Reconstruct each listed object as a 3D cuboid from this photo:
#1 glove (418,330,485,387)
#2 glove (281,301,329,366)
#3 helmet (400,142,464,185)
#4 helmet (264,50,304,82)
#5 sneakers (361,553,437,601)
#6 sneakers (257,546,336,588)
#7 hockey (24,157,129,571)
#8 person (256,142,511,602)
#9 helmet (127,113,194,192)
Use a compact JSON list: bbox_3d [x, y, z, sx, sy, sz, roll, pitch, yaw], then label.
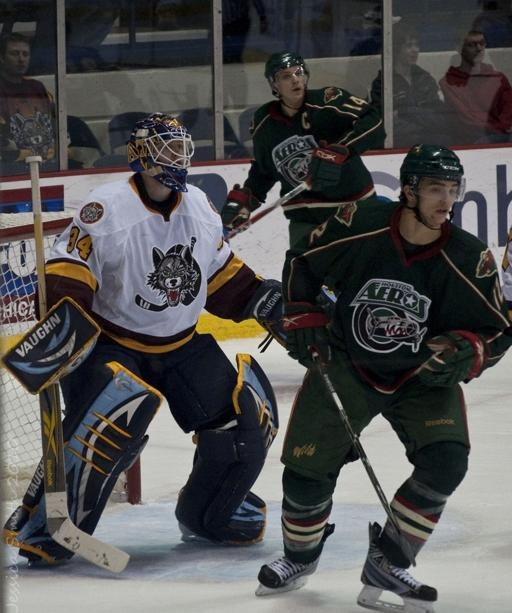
[{"bbox_3d":[0.447,0.123,1.862,0.175,0.071,0.106,-14,43,9],"label":"glove"},{"bbox_3d":[0.123,0.077,2.044,0.164,0.125,0.068,2,7,33],"label":"glove"},{"bbox_3d":[0.436,-0.334,1.934,0.119,0.105,0.135,-2,2,-33],"label":"helmet"},{"bbox_3d":[0.106,-1.013,3.433,0.154,0.121,0.131,-17,3,40],"label":"helmet"},{"bbox_3d":[0.344,0.661,1.936,0.183,0.140,0.112,0,3,4],"label":"sneakers"},{"bbox_3d":[0.095,0.679,2.120,0.206,0.075,0.058,-5,40,-45],"label":"sneakers"},{"bbox_3d":[-0.481,0.170,2.161,0.233,1.153,0.377,-2,4,-14],"label":"hockey"},{"bbox_3d":[0.308,0.172,1.973,0.584,1.123,0.216,1,4,24],"label":"person"},{"bbox_3d":[-0.293,-0.464,2.411,0.213,0.189,0.176,9,13,40],"label":"helmet"}]
